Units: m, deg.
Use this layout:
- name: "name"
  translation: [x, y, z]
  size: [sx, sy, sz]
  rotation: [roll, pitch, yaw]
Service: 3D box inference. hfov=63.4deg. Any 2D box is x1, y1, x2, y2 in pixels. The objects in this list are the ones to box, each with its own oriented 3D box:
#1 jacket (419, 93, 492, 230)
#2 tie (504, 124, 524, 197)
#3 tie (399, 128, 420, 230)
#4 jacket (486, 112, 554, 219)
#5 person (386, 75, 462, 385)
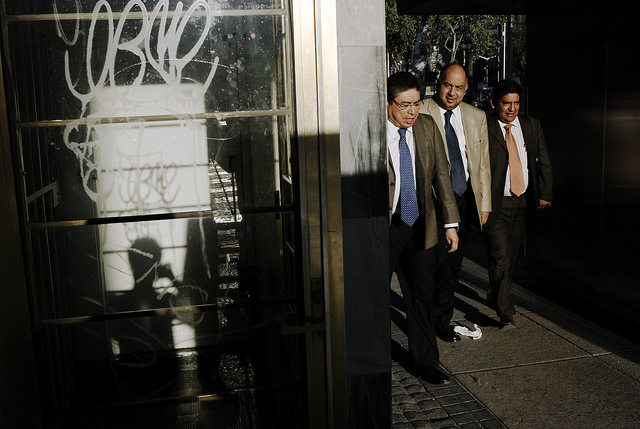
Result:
- name: "jacket"
  translation: [1.375, -0.848, 5.344]
  size: [0.716, 0.416, 1.194]
  rotation: [14, -23, 23]
- name: "tie"
  translation: [2.010, -0.560, 5.371]
  size: [0.174, 0.716, 0.165]
  rotation: [-3, 11, -1]
- name: "tie"
  translation: [0.749, -0.238, 4.365]
  size: [0.122, 0.961, 0.093]
  rotation: [-7, 11, -17]
- name: "jacket"
  translation: [2.044, -0.466, 5.442]
  size: [0.835, 1.075, 0.279]
  rotation: [-4, 2, -10]
- name: "person"
  translation: [0.882, 0.155, 4.505]
  size: [1.051, 2.656, 0.528]
  rotation: [-12, 15, -39]
